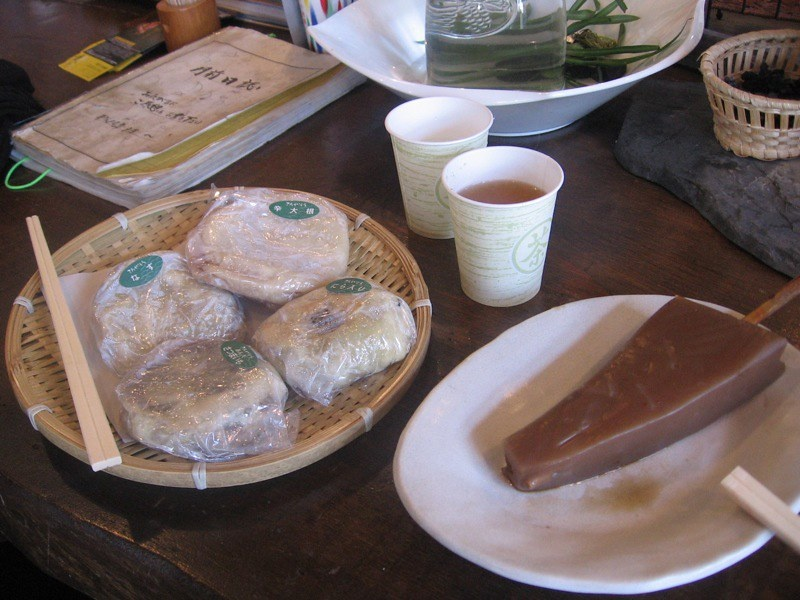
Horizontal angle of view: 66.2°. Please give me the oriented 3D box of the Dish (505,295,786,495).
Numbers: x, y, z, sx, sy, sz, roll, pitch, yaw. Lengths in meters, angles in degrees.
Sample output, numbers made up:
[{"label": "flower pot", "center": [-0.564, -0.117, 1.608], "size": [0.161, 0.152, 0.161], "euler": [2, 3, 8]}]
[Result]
[{"label": "Dish", "center": [0.272, 0.124, 0.682], "size": [0.290, 0.065, 0.151], "euler": [-28, 43, -9]}]

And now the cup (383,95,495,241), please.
[{"label": "cup", "center": [0.043, -0.201, 0.915], "size": [0.192, 0.179, 0.175], "euler": [-2, 43, 2]}]

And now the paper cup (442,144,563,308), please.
[{"label": "paper cup", "center": [0.125, -0.090, 0.761], "size": [0.151, 0.146, 0.140], "euler": [-4, 45, 4]}]

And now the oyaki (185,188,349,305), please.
[{"label": "oyaki", "center": [-0.167, -0.050, 0.810], "size": [0.182, 0.050, 0.166], "euler": [19, 48, 17]}]

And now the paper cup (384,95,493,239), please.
[{"label": "paper cup", "center": [0.045, -0.195, 0.911], "size": [0.193, 0.180, 0.175], "euler": [-4, 43, 0]}]
